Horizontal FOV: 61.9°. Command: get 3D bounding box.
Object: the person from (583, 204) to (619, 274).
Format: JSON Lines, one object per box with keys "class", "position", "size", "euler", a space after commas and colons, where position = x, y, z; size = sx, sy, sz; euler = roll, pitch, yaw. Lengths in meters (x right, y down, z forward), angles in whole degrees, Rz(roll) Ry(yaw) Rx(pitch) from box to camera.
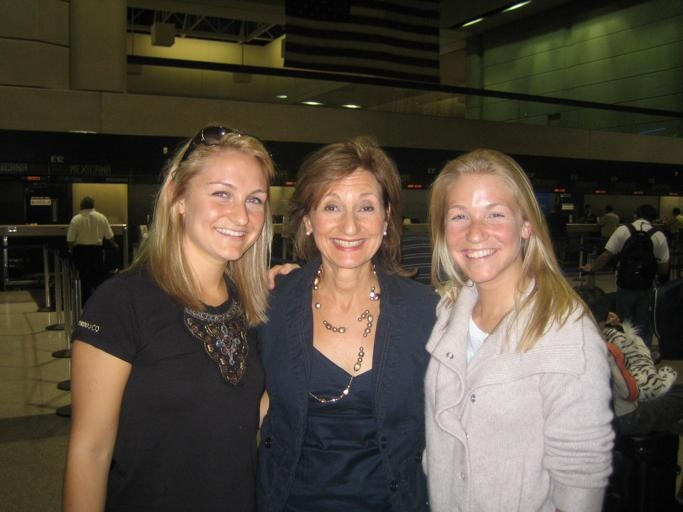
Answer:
{"class": "person", "position": [5.621, -0.365, 12.375], "size": [0.616, 0.637, 2.213], "euler": [0, 33, 39]}
